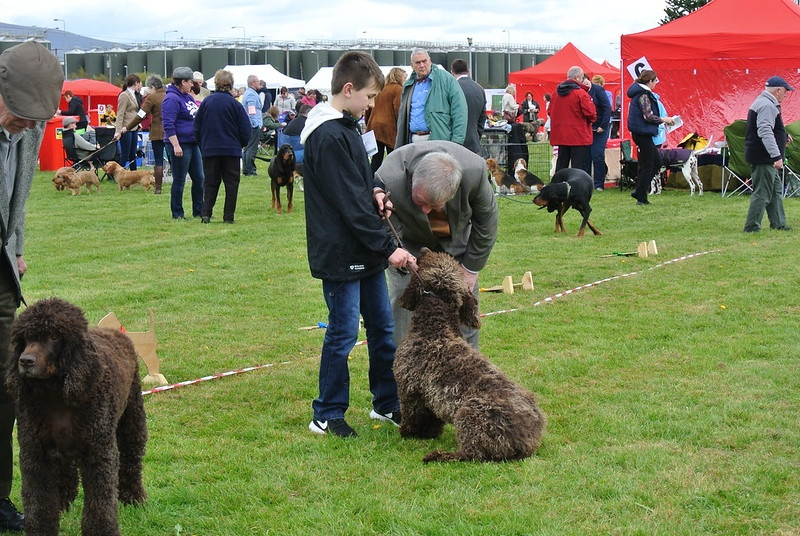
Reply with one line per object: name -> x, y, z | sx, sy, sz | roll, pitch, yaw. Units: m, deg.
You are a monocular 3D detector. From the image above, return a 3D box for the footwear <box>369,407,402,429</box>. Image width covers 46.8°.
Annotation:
footwear -> -0.139, 1.466, 8.965 | 0.306, 0.147, 0.124 | 1, 1, 19

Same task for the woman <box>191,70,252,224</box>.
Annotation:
woman -> -3.026, -2.109, 15.890 | 0.846, 2.610, 0.855 | 3, 8, -2

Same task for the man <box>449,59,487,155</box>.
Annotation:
man -> 1.004, -2.343, 15.119 | 0.620, 2.032, 0.637 | -1, 12, -16

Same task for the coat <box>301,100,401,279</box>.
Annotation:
coat -> -0.535, -0.911, 9.076 | 1.136, 2.027, 1.411 | -4, 11, -5

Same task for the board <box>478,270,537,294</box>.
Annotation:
board -> 1.455, 0.236, 12.481 | 0.597, 0.291, 0.327 | -10, 12, -34

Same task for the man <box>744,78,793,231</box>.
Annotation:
man -> 6.006, -1.847, 15.203 | 0.730, 2.566, 1.279 | 2, 7, 23

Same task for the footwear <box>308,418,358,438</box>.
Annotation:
footwear -> -0.625, 1.501, 8.628 | 0.406, 0.219, 0.173 | 2, 4, 20

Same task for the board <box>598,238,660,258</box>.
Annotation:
board -> 3.528, -0.222, 14.197 | 1.031, 0.325, 0.345 | -5, 10, -31

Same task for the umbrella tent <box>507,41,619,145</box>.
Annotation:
umbrella tent -> 5.460, -6.095, 30.310 | 4.139, 2.368, 4.482 | -7, 9, -9

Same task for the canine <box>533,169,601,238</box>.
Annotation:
canine -> 3.192, -1.158, 16.367 | 0.598, 1.235, 2.177 | 3, 15, 41

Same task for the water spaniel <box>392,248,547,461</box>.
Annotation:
water spaniel -> 0.595, 0.808, 8.631 | 1.004, 2.028, 1.745 | 7, -1, -44

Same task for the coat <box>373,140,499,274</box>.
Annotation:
coat -> 0.438, -0.519, 9.231 | 1.392, 1.153, 1.899 | 0, -32, 5
